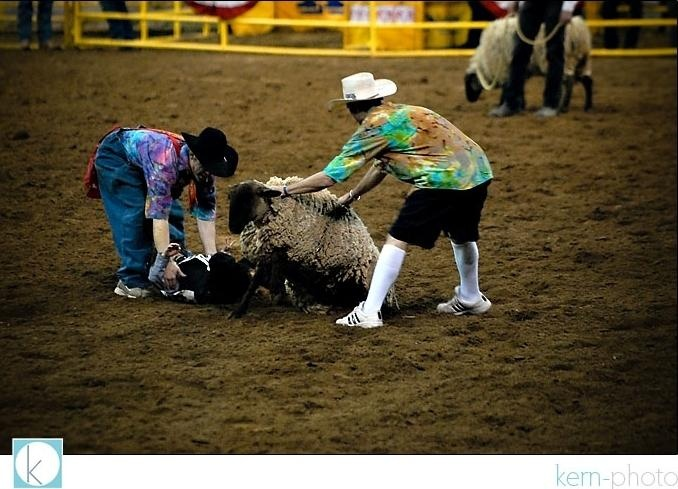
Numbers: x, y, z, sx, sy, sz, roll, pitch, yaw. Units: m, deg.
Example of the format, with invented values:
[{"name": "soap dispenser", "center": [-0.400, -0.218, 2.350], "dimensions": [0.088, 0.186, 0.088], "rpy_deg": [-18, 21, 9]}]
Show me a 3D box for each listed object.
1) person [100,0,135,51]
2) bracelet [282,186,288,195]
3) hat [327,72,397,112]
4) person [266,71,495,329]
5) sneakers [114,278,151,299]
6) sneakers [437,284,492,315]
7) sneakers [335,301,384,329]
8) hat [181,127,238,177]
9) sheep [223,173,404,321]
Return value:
[{"name": "person", "center": [-3.334, -3.281, 13.635], "dimensions": [0.480, 0.744, 0.845], "rpy_deg": [-1, 12, -14]}, {"name": "bracelet", "center": [-0.413, -0.414, 7.111], "dimensions": [0.047, 0.057, 0.046], "rpy_deg": [4, -19, 2]}, {"name": "hat", "center": [0.197, -1.210, 7.068], "dimensions": [0.404, 0.135, 0.361], "rpy_deg": [-24, 17, -17]}, {"name": "person", "center": [0.568, -0.311, 7.182], "dimensions": [1.422, 2.008, 0.491], "rpy_deg": [3, 12, 4]}, {"name": "sneakers", "center": [-1.786, 0.390, 7.849], "dimensions": [0.326, 0.138, 0.128], "rpy_deg": [4, 12, 7]}, {"name": "sneakers", "center": [1.039, 0.480, 7.543], "dimensions": [0.548, 0.246, 0.179], "rpy_deg": [0, 11, 4]}, {"name": "sneakers", "center": [0.184, 0.594, 7.391], "dimensions": [0.466, 0.199, 0.151], "rpy_deg": [0, 6, 8]}, {"name": "hat", "center": [-1.046, -0.746, 7.381], "dimensions": [0.438, 0.389, 0.249], "rpy_deg": [-1, 13, -15]}, {"name": "sheep", "center": [-0.298, 0.058, 7.871], "dimensions": [1.576, 0.995, 0.909], "rpy_deg": [3, 0, -4]}]
